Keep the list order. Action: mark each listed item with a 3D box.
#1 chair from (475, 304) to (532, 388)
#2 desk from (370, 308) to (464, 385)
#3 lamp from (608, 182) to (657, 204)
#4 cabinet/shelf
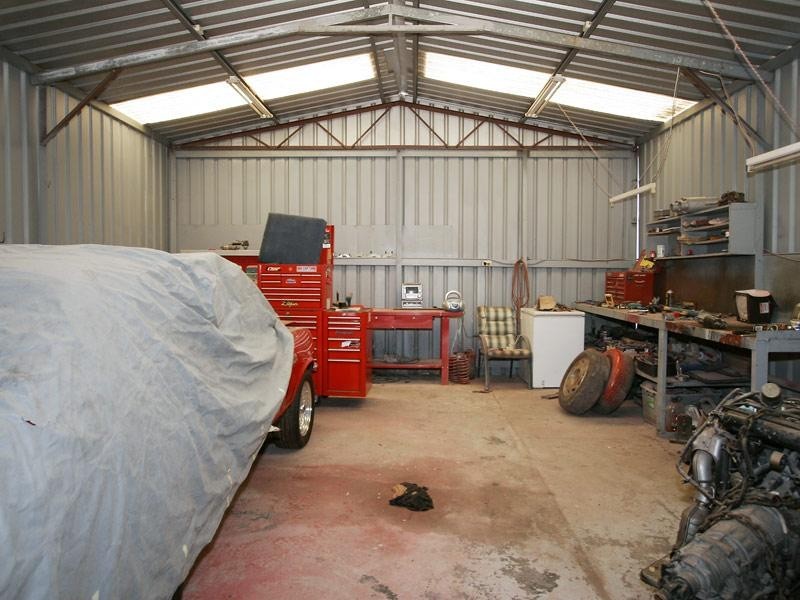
[{"bbox_3d":[1.452,0.485,8.378,0.644,1.117,1.077,0,-6,-1],"label":"chair"},{"bbox_3d":[0.095,0.610,8.411,1.591,1.147,0.889,-1,12,1],"label":"desk"},{"bbox_3d":[2.995,-1.366,7.535,0.457,0.273,2.861,5,13,21],"label":"lamp"},{"bbox_3d":[3.523,-0.823,6.990,0.525,0.754,1.812,1,12,2],"label":"cabinet/shelf"}]
